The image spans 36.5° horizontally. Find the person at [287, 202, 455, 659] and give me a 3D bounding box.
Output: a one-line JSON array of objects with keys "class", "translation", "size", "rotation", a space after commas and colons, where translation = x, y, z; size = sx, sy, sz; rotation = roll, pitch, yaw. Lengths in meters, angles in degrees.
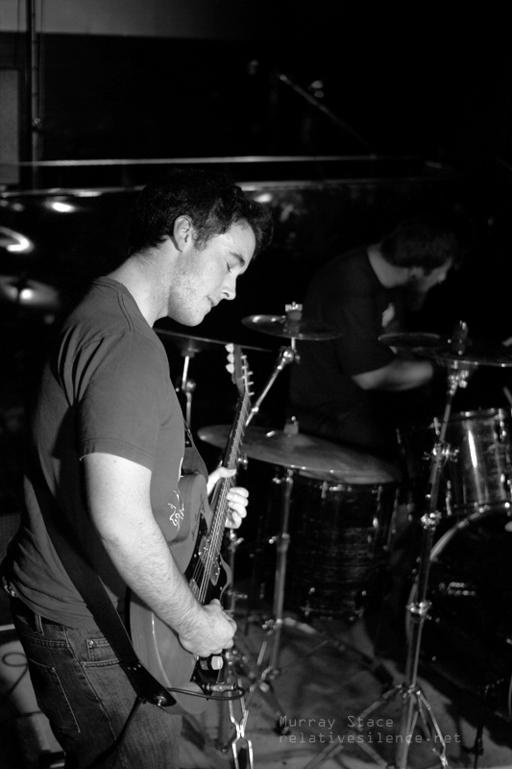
[{"class": "person", "translation": [0.456, 0.039, 3.143], "size": [0.699, 1.350, 0.589], "rotation": [8, 27, 6]}]

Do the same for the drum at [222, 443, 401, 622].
[{"class": "drum", "translation": [0.301, 0.596, 2.748], "size": [0.524, 0.504, 0.474], "rotation": [11, -12, -15]}]
